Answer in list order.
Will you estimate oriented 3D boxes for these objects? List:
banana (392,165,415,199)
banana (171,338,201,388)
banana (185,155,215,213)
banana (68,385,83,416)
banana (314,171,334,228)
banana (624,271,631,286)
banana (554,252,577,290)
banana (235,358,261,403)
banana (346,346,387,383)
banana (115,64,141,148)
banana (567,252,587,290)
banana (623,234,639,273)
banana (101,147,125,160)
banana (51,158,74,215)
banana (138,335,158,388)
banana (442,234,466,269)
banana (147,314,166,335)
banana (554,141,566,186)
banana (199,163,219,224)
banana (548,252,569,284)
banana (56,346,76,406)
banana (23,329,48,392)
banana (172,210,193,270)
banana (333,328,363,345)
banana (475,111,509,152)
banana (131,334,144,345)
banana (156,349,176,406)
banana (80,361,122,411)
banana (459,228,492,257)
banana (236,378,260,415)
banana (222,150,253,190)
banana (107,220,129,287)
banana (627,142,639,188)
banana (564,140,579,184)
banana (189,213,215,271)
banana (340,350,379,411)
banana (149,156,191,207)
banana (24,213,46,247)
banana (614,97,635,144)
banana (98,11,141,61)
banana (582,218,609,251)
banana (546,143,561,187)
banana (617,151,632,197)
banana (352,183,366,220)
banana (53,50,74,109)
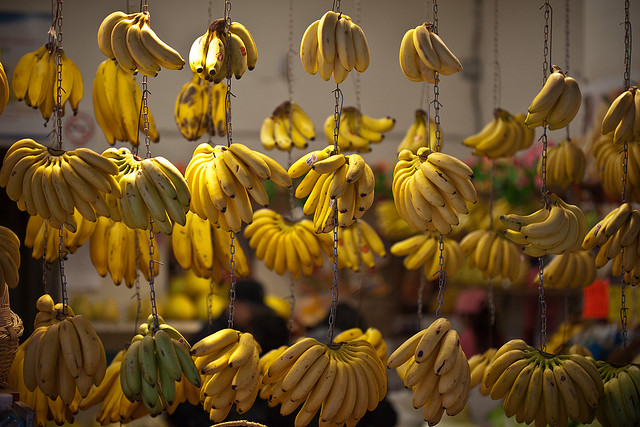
[{"bbox_3d":[0.513,-0.197,5.769,0.037,0.168,0.111,20,-11,-33],"label":"banana"},{"bbox_3d":[-0.755,0.832,5.564,0.123,0.162,0.485,25,-33,-3],"label":"banana"},{"bbox_3d":[-0.726,-0.182,5.785,0.072,0.316,0.193,10,-11,-41],"label":"banana"},{"bbox_3d":[-1.523,1.161,5.868,0.055,0.194,0.046,0,-13,18],"label":"banana"},{"bbox_3d":[0.027,-0.096,5.731,0.039,0.346,0.043,21,0,9],"label":"banana"},{"bbox_3d":[1.955,0.413,6.004,0.015,0.070,0.045,-4,12,7],"label":"banana"},{"bbox_3d":[1.640,0.423,6.437,0.097,0.163,0.450,21,-14,9],"label":"banana"},{"bbox_3d":[-0.452,0.983,5.685,0.108,0.148,0.414,15,-21,-12],"label":"banana"},{"bbox_3d":[0.278,0.895,5.769,0.061,0.235,0.172,-38,-2,29],"label":"banana"},{"bbox_3d":[-1.210,-0.694,5.926,0.073,0.505,0.151,-11,-3,-22],"label":"banana"},{"bbox_3d":[1.722,0.380,6.340,0.046,0.229,0.158,4,-7,0],"label":"banana"},{"bbox_3d":[1.952,0.261,5.951,0.058,0.269,0.080,5,2,3],"label":"banana"},{"bbox_3d":[-1.297,-0.379,5.871,0.106,0.050,0.081,13,17,40],"label":"banana"},{"bbox_3d":[-1.521,-0.143,5.566,0.069,0.398,0.116,-13,-6,11],"label":"banana"},{"bbox_3d":[-1.022,0.857,5.626,0.084,0.335,0.097,-24,-18,39],"label":"banana"},{"bbox_3d":[0.912,0.265,6.459,0.054,0.218,0.205,-29,-23,18],"label":"banana"},{"bbox_3d":[-1.000,0.677,5.764,0.094,0.120,0.192,-1,-5,13],"label":"banana"},{"bbox_3d":[1.613,-0.346,6.384,0.054,0.279,0.089,0,-13,3],"label":"banana"},{"bbox_3d":[-0.676,-0.106,5.726,0.096,0.374,0.090,-10,-9,7],"label":"banana"},{"bbox_3d":[1.588,0.368,6.274,0.042,0.213,0.070,25,-1,12],"label":"banana"},{"bbox_3d":[-1.515,0.995,5.664,0.085,0.389,0.112,-1,5,-3],"label":"banana"},{"bbox_3d":[-1.720,0.890,5.689,0.095,0.369,0.078,3,-6,24],"label":"banana"},{"bbox_3d":[-0.878,0.177,6.086,0.109,0.418,0.115,3,1,14],"label":"banana"},{"bbox_3d":[0.182,0.803,6.152,0.203,0.063,0.069,-28,25,-19],"label":"banana"},{"bbox_3d":[1.088,-0.560,6.415,0.296,0.226,0.105,-12,2,-9],"label":"banana"},{"bbox_3d":[-1.102,0.765,5.668,0.050,0.031,0.042,-37,14,-26],"label":"banana"},{"bbox_3d":[-0.901,1.014,5.657,0.092,0.439,0.068,-6,4,27],"label":"banana"},{"bbox_3d":[-1.340,1.149,5.972,0.131,0.452,0.123,2,33,-23],"label":"banana"},{"bbox_3d":[1.081,0.203,6.514,0.244,0.094,0.068,-38,11,-7],"label":"banana"},{"bbox_3d":[-0.445,1.139,5.675,0.078,0.282,0.074,14,-10,44],"label":"banana"},{"bbox_3d":[-0.463,-0.284,5.677,0.114,0.152,0.419,-20,-17,-2],"label":"banana"},{"bbox_3d":[-1.290,0.259,6.062,0.118,0.446,0.116,-2,-7,41],"label":"banana"},{"bbox_3d":[2.016,-0.316,6.076,0.071,0.278,0.043,0,-4,0],"label":"banana"},{"bbox_3d":[1.686,-0.350,6.357,0.064,0.283,0.085,2,-14,-12],"label":"banana"},{"bbox_3d":[-0.747,0.177,5.985,0.103,0.413,0.114,-8,6,-30],"label":"banana"},{"bbox_3d":[0.242,1.017,5.727,0.084,0.342,0.238,-6,2,-2],"label":"banana"},{"bbox_3d":[-0.911,-0.184,5.679,0.118,0.379,0.094,-23,7,41],"label":"banana"},{"bbox_3d":[-1.883,0.081,6.180,0.092,0.142,0.381,-4,26,-2],"label":"banana"},{"bbox_3d":[1.917,-0.555,5.962,0.074,0.340,0.101,14,0,6],"label":"banana"},{"bbox_3d":[-1.271,-1.097,5.682,0.201,0.315,0.067,2,2,-29],"label":"banana"},{"bbox_3d":[1.726,0.153,5.982,0.084,0.295,0.079,23,33,-2],"label":"banana"},{"bbox_3d":[1.564,-0.335,6.423,0.066,0.247,0.135,5,-1,-2],"label":"banana"},{"bbox_3d":[1.977,-0.258,6.136,0.079,0.291,0.035,-11,-2,34],"label":"banana"},{"bbox_3d":[0.236,-0.053,5.719,0.039,0.266,0.064,1,12,28],"label":"banana"},{"bbox_3d":[-1.614,-0.840,5.938,0.099,0.368,0.118,-3,-8,-1],"label":"banana"}]
